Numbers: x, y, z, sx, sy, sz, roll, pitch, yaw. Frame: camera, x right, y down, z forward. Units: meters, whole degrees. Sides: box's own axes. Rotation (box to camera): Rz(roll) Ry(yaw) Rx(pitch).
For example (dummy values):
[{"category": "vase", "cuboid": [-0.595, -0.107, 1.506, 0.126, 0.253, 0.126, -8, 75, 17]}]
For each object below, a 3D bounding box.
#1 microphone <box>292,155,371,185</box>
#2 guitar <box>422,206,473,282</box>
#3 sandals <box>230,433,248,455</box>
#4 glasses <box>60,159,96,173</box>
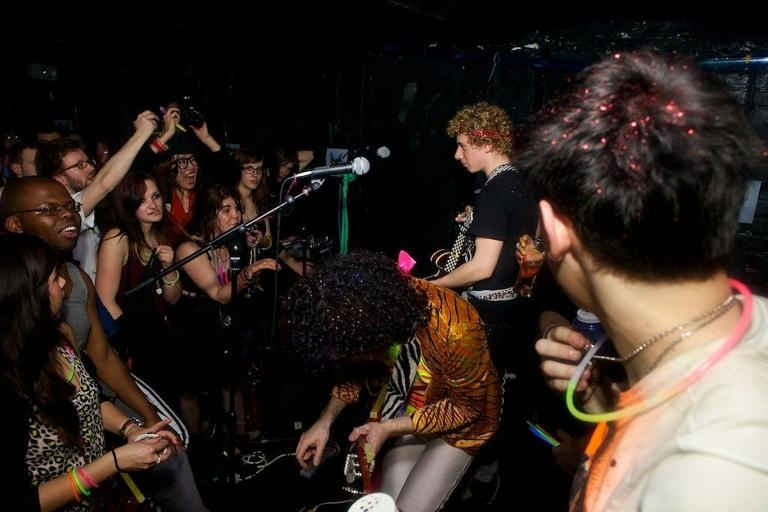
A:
[{"category": "microphone", "cuboid": [-0.409, -0.598, 3.990, 0.641, 0.179, 0.172, -7, -30, -5]}, {"category": "guitar", "cuboid": [0.594, -0.135, 5.625, 0.433, 0.132, 1.019, 42, -12, 2]}, {"category": "sandals", "cuboid": [-1.140, 1.448, 4.547, 0.049, 0.173, 0.203, -7, -16, 43]}, {"category": "glasses", "cuboid": [-2.379, -0.716, 4.635, 0.151, 0.041, 0.147, -8, 8, 17]}]
